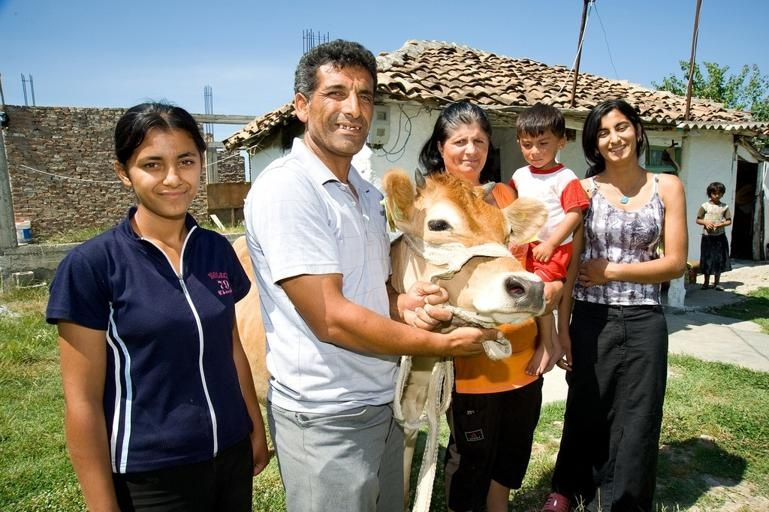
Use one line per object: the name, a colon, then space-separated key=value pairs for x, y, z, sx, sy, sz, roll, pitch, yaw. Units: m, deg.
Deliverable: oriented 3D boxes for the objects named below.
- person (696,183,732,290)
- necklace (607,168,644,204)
person: x=6.743 y=-0.411 z=11.485 sx=0.601 sy=2.200 sz=0.872 roll=0 pitch=7 yaw=29
necklace: x=1.939 y=-0.562 z=4.494 sx=0.220 sy=0.357 sz=0.359 roll=-5 pitch=30 yaw=20
